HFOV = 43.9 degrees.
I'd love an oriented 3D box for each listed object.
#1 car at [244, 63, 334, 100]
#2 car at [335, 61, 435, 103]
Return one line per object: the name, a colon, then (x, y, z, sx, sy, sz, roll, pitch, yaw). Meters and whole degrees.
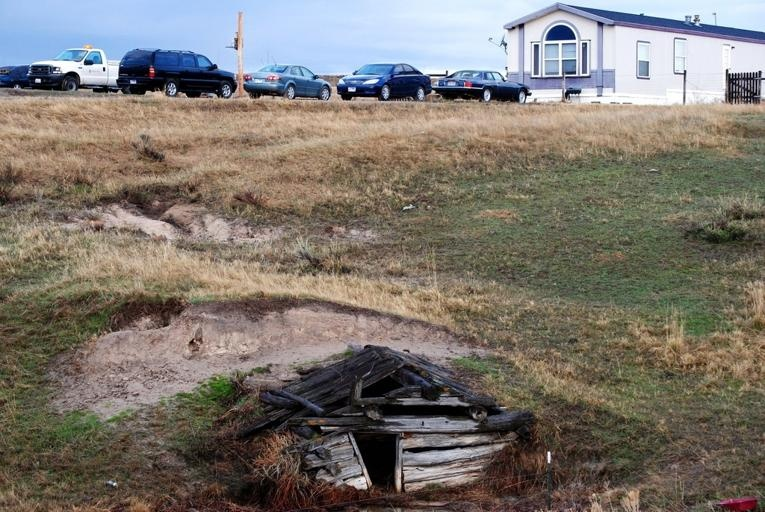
car: (-4.322, -8.112, 44.197, 1.904, 1.768, 3.903, 13, 20, 40)
car: (-0.109, -8.234, 44.395, 3.294, 1.918, 3.451, 9, 18, 30)
